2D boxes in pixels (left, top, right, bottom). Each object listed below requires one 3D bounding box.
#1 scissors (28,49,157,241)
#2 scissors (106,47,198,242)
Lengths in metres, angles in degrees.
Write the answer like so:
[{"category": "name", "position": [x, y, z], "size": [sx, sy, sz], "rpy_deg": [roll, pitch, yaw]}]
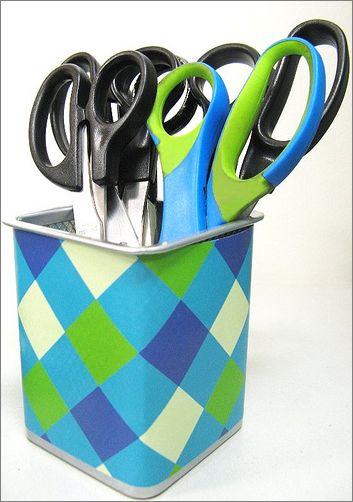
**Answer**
[{"category": "scissors", "position": [-0.086, -0.115, 0.578], "size": [0.032, 0.233, 0.188], "rpy_deg": [14, 5, -38]}, {"category": "scissors", "position": [-0.036, -0.147, 0.603], "size": [0.090, 0.042, 0.256], "rpy_deg": [1, 80, 14]}]
